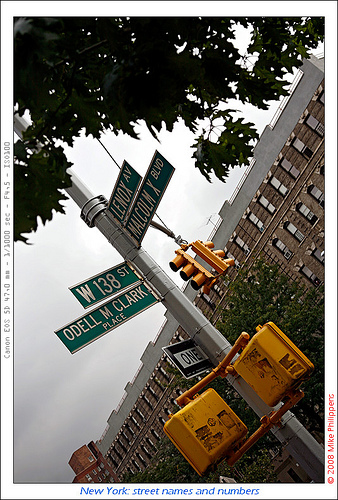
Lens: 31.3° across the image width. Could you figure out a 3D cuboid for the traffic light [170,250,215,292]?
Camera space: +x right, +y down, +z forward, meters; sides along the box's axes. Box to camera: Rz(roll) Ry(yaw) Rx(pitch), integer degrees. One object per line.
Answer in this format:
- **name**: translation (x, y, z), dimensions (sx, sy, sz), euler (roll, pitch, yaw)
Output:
- **traffic light**: translation (0.465, 0.246, 10.634), dimensions (0.588, 0.821, 0.304), euler (-39, -28, -6)
